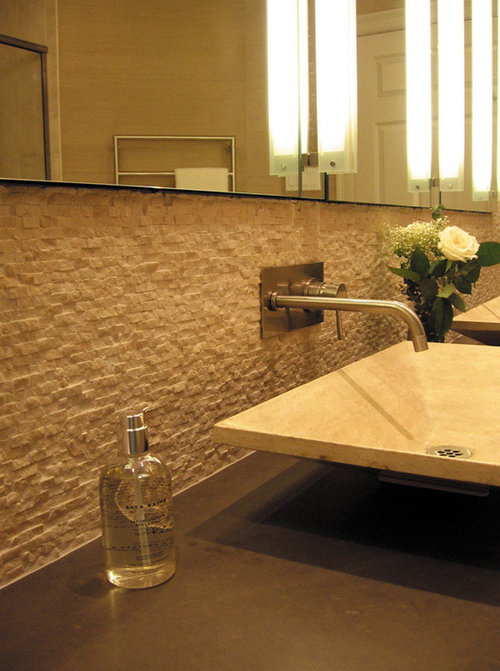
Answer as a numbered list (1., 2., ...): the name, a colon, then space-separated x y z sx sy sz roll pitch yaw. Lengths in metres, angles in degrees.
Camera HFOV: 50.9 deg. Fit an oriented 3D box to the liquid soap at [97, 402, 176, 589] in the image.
1. liquid soap: -0.093 0.154 0.431 0.058 0.114 0.044 -2 2 -11
